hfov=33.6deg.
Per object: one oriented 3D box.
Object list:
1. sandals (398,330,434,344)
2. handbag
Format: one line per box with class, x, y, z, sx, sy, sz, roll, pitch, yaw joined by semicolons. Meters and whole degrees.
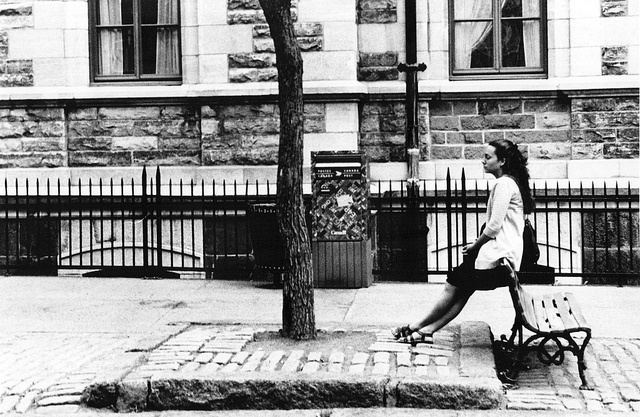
sandals;1.316;1.722;14.237;0.413;0.115;0.188;2;0;3
handbag;2.719;0.448;14.808;0.719;1.241;0.935;-1;3;9
